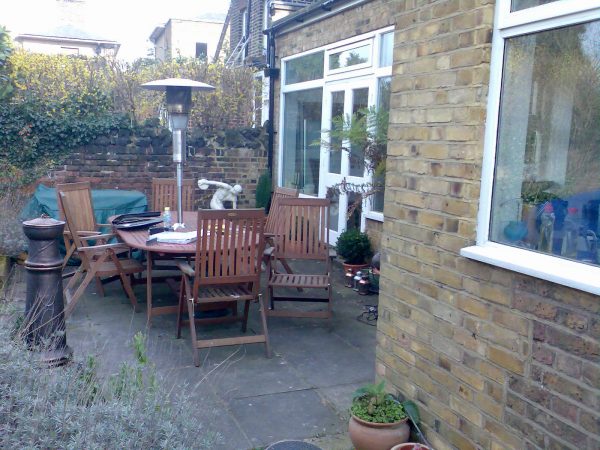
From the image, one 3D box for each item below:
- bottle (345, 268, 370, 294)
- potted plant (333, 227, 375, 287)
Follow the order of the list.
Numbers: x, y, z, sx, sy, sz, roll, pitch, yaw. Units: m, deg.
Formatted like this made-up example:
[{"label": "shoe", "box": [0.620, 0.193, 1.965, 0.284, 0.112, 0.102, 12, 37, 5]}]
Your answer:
[{"label": "bottle", "box": [0.760, 0.728, 6.157, 0.186, 0.260, 0.399, -1, 2, -10]}, {"label": "potted plant", "box": [0.776, 0.428, 6.724, 0.616, 0.906, 0.633, 8, 14, 31]}]
